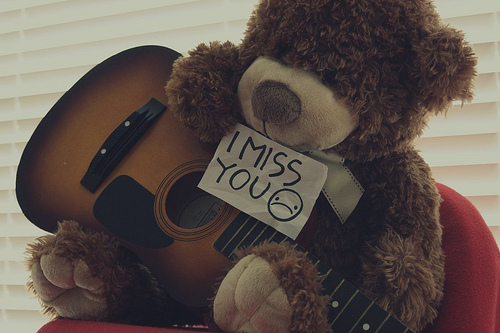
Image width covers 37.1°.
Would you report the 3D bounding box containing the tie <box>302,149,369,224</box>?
[{"bbox_3d":[0.307,0.075,2.639,0.286,0.175,0.068,53,-4,5],"label":"tie"}]
